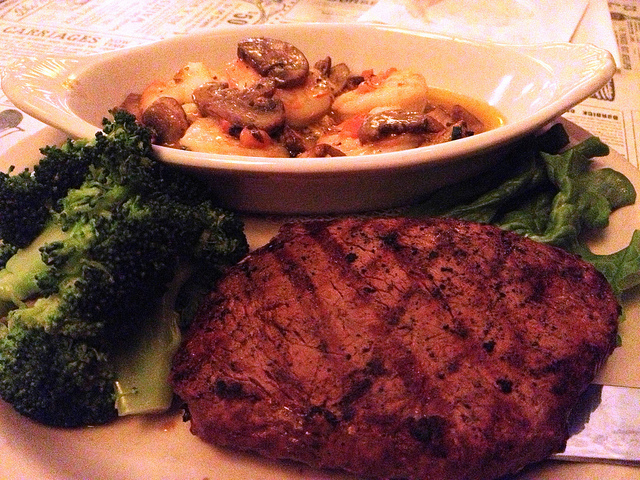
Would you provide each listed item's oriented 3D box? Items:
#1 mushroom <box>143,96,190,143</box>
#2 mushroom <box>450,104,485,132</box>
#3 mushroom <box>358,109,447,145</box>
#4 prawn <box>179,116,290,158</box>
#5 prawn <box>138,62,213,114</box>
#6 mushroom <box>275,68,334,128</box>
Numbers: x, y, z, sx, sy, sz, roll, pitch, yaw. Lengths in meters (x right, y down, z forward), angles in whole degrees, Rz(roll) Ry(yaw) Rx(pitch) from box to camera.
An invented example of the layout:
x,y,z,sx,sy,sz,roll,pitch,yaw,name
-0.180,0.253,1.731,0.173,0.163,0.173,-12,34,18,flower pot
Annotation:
x,y,z,sx,sy,sz,roll,pitch,yaw,name
-0.751,-0.597,2.891,0.206,0.058,0.213,-26,76,5,mushroom
0.774,-0.648,3.099,0.173,0.047,0.165,16,35,-20,mushroom
0.408,-0.570,3.030,0.380,0.521,0.134,-3,86,33,mushroom
-0.417,-0.471,2.855,0.517,0.121,0.230,18,73,10,prawn
-0.741,-0.823,3.093,0.316,0.087,0.306,-22,40,11,prawn
-0.079,-0.736,3.103,0.283,0.107,0.318,6,55,-7,mushroom
